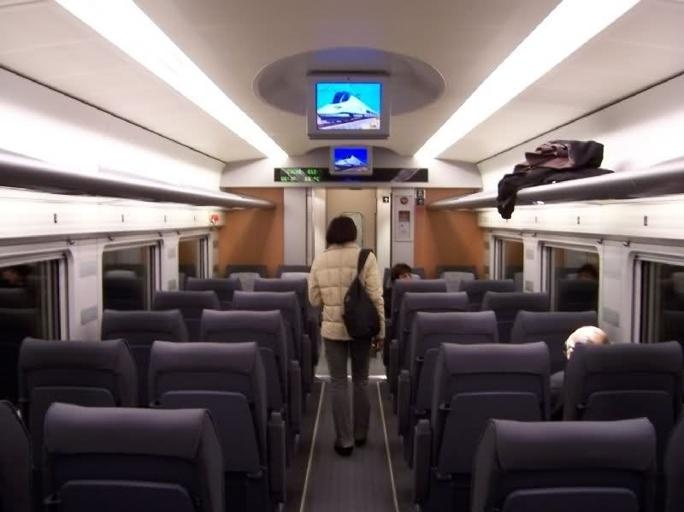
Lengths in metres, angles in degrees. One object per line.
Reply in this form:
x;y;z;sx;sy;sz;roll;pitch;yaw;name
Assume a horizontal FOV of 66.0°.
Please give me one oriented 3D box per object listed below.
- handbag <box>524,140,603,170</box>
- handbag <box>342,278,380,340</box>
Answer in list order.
2.043;-0.949;4.884;0.666;0.289;0.344;3;8;25;handbag
0.164;0.459;5.022;0.410;0.650;0.256;-7;-1;-32;handbag
